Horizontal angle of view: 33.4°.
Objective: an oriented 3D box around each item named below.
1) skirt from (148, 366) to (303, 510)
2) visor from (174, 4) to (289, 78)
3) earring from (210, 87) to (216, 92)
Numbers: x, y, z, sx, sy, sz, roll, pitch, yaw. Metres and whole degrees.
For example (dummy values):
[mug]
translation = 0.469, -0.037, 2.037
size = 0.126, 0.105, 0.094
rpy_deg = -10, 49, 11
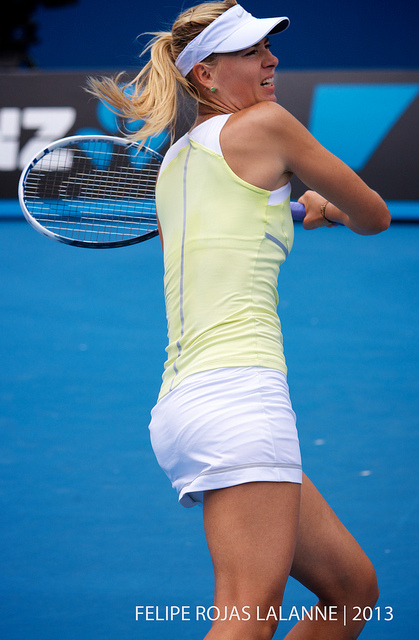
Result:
[skirt]
translation = 0.000, 0.243, 1.355
size = 0.274, 0.358, 0.228
rpy_deg = -2, 73, -27
[visor]
translation = 0.038, -0.581, 1.493
size = 0.180, 0.143, 0.209
rpy_deg = 21, 27, 38
[earring]
translation = 0.007, -0.467, 1.426
size = 0.009, 0.002, 0.008
rpy_deg = 0, 94, -4
